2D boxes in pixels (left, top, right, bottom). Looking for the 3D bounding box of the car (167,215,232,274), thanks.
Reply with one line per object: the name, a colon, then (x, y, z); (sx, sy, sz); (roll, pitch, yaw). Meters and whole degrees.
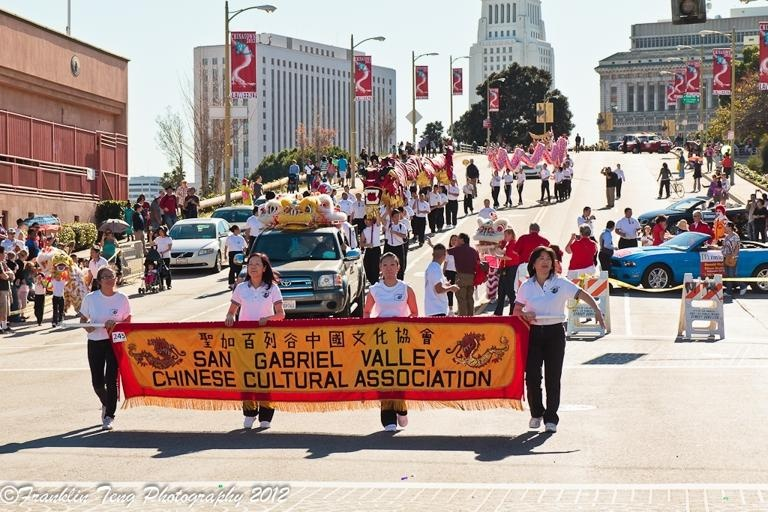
car: (-6.298, -0.387, 37.580); (1.748, 1.861, 2.179); (-1, 3, 0)
